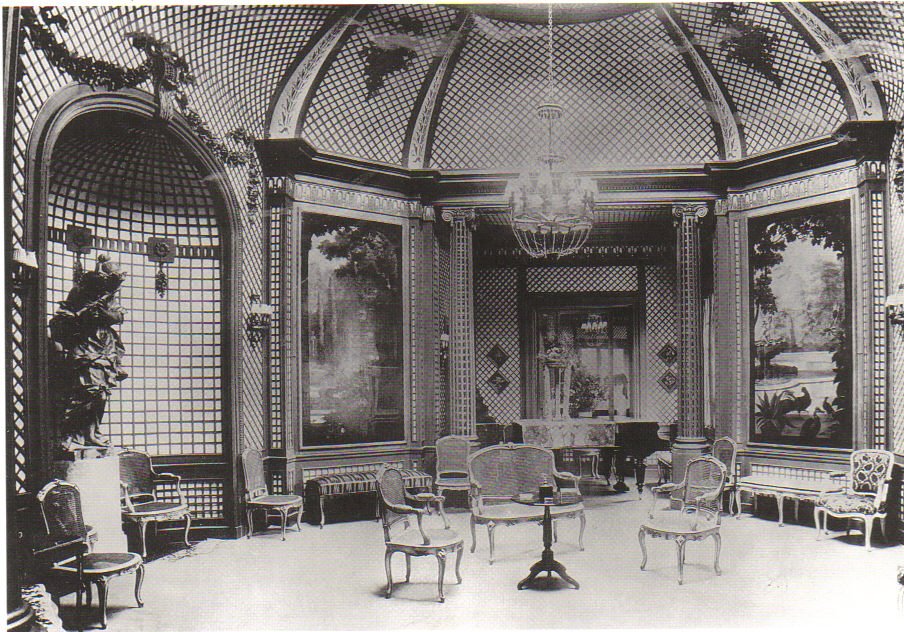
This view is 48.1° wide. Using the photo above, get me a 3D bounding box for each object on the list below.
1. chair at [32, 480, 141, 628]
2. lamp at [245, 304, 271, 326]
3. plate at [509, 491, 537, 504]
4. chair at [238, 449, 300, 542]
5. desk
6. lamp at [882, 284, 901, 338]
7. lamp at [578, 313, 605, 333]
[{"bbox_3d":[-4.201,2.739,11.603,1.078,1.701,0.464,0,-6,-21],"label":"chair"},{"bbox_3d":[-2.702,-0.033,14.207,0.100,0.255,0.396,-6,-7,37],"label":"lamp"},{"bbox_3d":[0.926,2.256,12.411,0.256,0.056,0.254,0,-2,36],"label":"plate"},{"bbox_3d":[-2.475,2.438,13.925,0.796,1.253,0.835,-2,-5,6],"label":"chair"},{"bbox_3d":[1.765,2.055,15.900,1.429,0.805,1.302,2,7,0],"label":"desk"},{"bbox_3d":[5.856,-0.060,13.481,0.223,0.751,0.504,-4,-6,23],"label":"lamp"},{"bbox_3d":[2.378,0.178,17.305,0.372,0.360,0.358,5,-11,8],"label":"lamp"}]
